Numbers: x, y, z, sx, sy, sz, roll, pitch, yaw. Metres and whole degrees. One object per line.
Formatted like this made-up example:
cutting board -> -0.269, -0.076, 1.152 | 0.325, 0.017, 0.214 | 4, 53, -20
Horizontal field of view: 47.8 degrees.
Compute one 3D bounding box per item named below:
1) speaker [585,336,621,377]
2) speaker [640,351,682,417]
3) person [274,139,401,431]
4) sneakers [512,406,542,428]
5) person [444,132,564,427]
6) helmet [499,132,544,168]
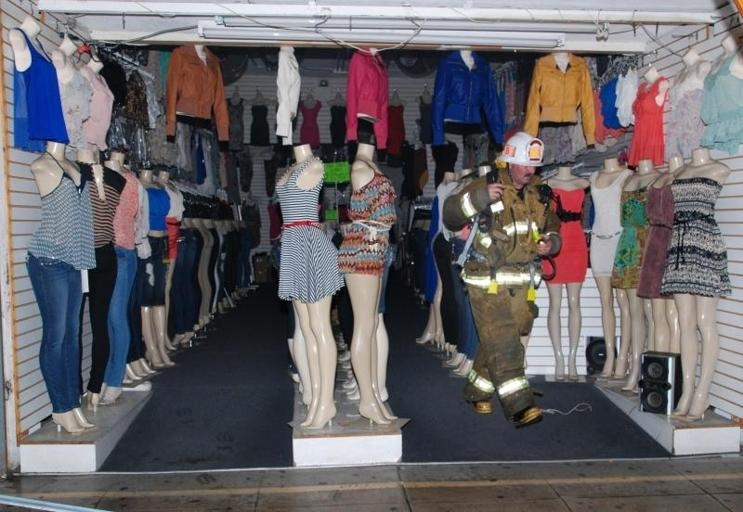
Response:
speaker -> 2.570, 1.148, 9.701 | 0.296, 0.476, 0.135 | 2, 1, 10
speaker -> 2.910, 1.283, 8.550 | 0.337, 0.649, 0.354 | -14, 15, -42
person -> -0.583, 0.290, 7.952 | 0.617, 2.677, 0.386 | 0, 6, 3
sneakers -> 1.466, 1.518, 7.923 | 0.222, 0.142, 0.186 | -22, -21, 23
person -> 1.260, 0.232, 8.097 | 1.102, 2.823, 0.750 | 0, 6, 3
helmet -> 1.440, -1.042, 8.081 | 0.390, 0.314, 0.484 | -1, 13, -21
